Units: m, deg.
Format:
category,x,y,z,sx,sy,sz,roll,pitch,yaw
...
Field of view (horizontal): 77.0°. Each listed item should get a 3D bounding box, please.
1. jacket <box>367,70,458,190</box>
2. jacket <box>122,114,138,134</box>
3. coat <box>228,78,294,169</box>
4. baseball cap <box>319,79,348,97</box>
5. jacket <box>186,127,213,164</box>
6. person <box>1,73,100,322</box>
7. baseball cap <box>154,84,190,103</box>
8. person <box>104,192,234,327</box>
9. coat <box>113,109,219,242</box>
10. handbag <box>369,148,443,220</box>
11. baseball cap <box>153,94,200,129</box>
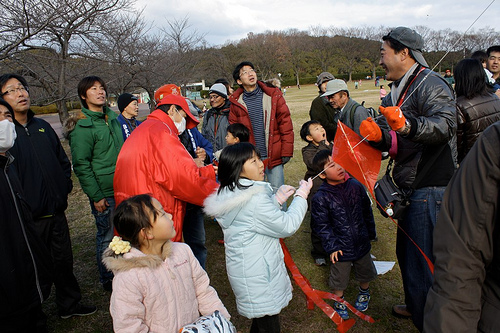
category,x,y,z,sx,sy,sz,roll,pitch,yaw
jacket,1.549,-0.293,3.080,0.836,1.193,0.946,-3,4,4
jacket,-1.938,-0.729,5.239,0.192,0.253,0.107,-15,19,-34
coat,0.199,-0.669,4.918,0.916,1.285,0.700,-4,17,1
baseball cap,1.207,-1.113,4.492,0.280,0.138,0.209,-16,10,-18
jacket,-0.622,-0.306,4.564,0.480,0.154,0.351,-8,51,-25
person,-2.197,0.369,3.490,0.517,2.683,0.843,-14,19,-28
baseball cap,-0.978,-0.874,3.829,0.292,0.109,0.212,-7,12,9
person,-0.729,0.815,2.617,0.839,1.091,0.534,-11,18,-19
coat,-0.906,0.288,3.630,1.121,1.780,0.914,13,22,-5
handbag,1.491,0.153,2.970,0.320,0.666,0.418,15,33,-26
baseball cap,-0.784,-0.658,3.753,0.541,0.273,0.339,18,-9,-26
